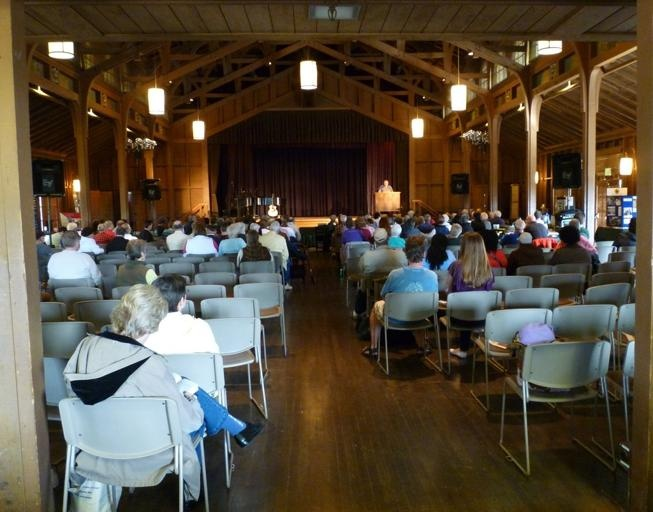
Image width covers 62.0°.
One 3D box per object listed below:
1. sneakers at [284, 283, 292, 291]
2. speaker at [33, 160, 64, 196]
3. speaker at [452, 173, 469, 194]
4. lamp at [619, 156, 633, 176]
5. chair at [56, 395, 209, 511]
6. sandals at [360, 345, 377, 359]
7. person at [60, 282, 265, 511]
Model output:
[{"bbox_3d":[-0.703,0.560,9.798,0.100,0.132,0.312,0,6,1],"label":"sneakers"},{"bbox_3d":[-6.209,-1.734,12.146,0.628,0.800,0.473,-8,11,-31],"label":"speaker"},{"bbox_3d":[4.656,-2.541,19.187,0.625,0.718,0.680,-1,0,3],"label":"speaker"},{"bbox_3d":[8.783,-2.640,15.909,0.356,0.572,1.355,4,11,29],"label":"lamp"},{"bbox_3d":[-1.098,1.067,3.387,0.617,1.028,0.713,0,7,0],"label":"chair"},{"bbox_3d":[0.477,1.096,6.146,0.114,0.076,0.184,-3,-8,28],"label":"sandals"},{"bbox_3d":[-0.963,0.929,3.647,0.710,1.496,1.436,0,8,24],"label":"person"}]
